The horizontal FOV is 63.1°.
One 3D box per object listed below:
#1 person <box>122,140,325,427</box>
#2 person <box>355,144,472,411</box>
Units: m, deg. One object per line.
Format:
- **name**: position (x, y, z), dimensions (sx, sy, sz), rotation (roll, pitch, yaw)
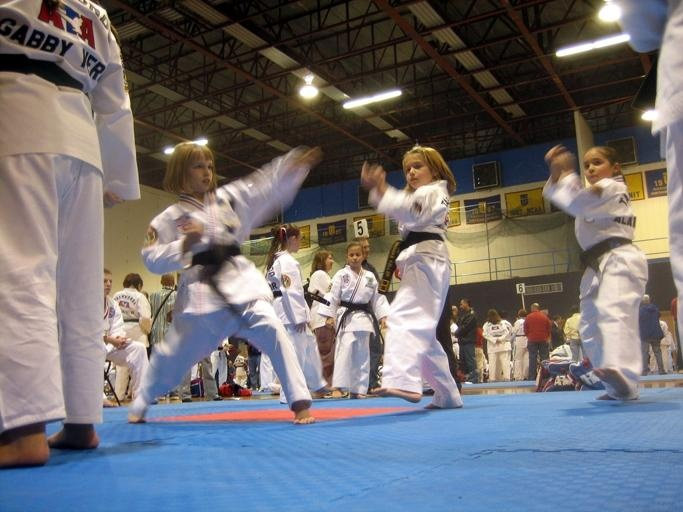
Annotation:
- **person**: position (-0.743, 0.128, 3.562), dimensions (1.240, 1.877, 0.706), rotation (-2, -10, -4)
- **person**: position (0.523, 0.076, 4.142), dimensions (0.469, 2.134, 1.073), rotation (-10, -12, 33)
